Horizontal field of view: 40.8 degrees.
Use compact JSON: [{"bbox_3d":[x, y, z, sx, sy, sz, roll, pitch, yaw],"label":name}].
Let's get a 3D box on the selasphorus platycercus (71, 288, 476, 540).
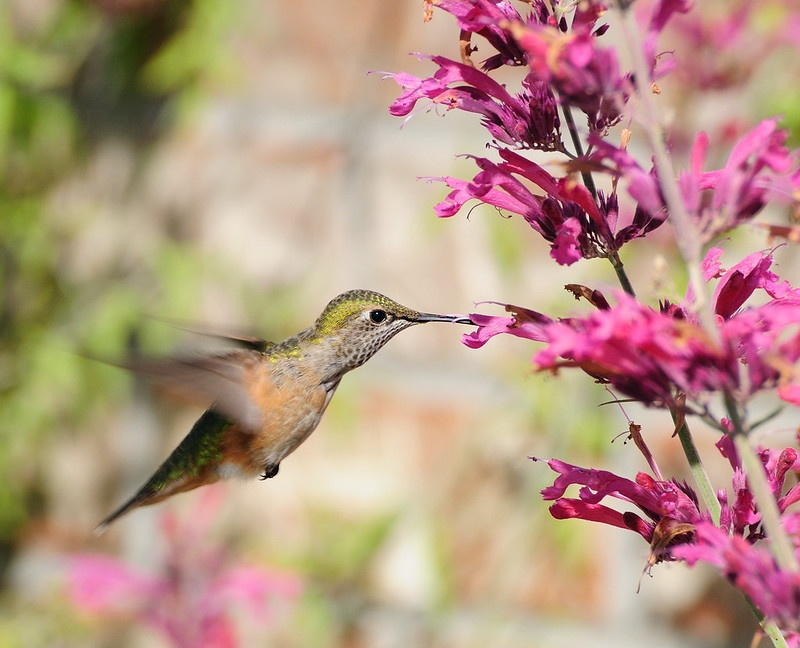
[{"bbox_3d":[-0.211,0.114,1.650,0.553,0.508,0.279,-9,-85,-1],"label":"selasphorus platycercus"}]
